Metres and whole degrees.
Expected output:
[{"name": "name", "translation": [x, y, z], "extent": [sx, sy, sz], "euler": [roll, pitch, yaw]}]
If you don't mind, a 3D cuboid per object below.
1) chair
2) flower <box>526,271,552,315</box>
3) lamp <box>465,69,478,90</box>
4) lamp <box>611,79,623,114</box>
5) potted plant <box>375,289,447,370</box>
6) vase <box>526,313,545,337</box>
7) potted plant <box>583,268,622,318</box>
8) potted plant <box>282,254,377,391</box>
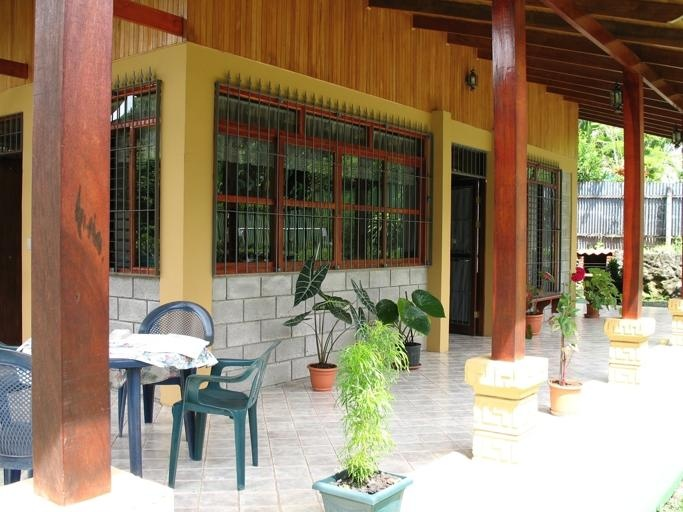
[{"name": "chair", "translation": [-1.054, 0.912, 4.163], "extent": [0.902, 1.064, 1.366], "euler": [-1, 3, -26]}, {"name": "flower", "translation": [3.196, 0.572, 9.866], "extent": [0.455, 0.662, 1.427], "euler": [-1, -3, 25]}, {"name": "lamp", "translation": [1.831, -2.464, 8.244], "extent": [0.123, 0.297, 0.306], "euler": [2, 3, 36]}, {"name": "lamp", "translation": [3.055, -1.795, 6.587], "extent": [0.106, 0.321, 0.275], "euler": [1, 3, 31]}, {"name": "potted plant", "translation": [0.636, 0.762, 6.303], "extent": [0.560, 0.812, 0.689], "euler": [11, -8, 7]}, {"name": "vase", "translation": [2.991, 1.011, 9.121], "extent": [0.332, 0.338, 0.377], "euler": [0, -1, 7]}, {"name": "potted plant", "translation": [2.798, 0.362, 6.423], "extent": [0.321, 0.477, 0.698], "euler": [1, 3, 23]}, {"name": "potted plant", "translation": [-0.218, 0.721, 5.989], "extent": [0.686, 1.249, 0.897], "euler": [7, -16, -38]}]
